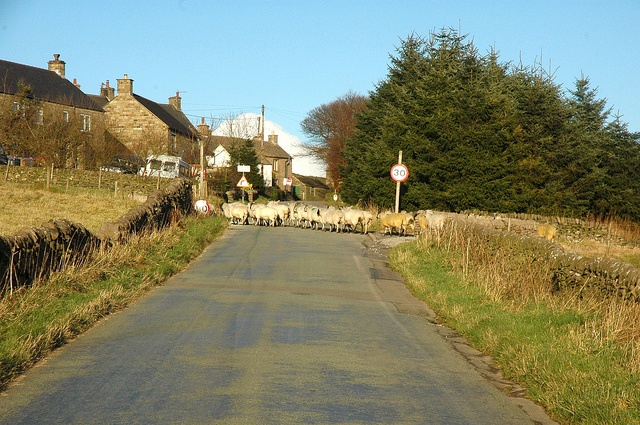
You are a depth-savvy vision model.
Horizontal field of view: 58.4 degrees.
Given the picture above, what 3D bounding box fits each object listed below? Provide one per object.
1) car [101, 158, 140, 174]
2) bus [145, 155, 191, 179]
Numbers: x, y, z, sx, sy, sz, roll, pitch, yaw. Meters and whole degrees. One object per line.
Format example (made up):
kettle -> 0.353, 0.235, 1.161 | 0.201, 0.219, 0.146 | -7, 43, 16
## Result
car -> -17.409, -4.051, 49.871 | 1.776, 1.417, 3.015 | 1, 0, 19
bus -> -13.774, -4.022, 52.641 | 2.941, 2.394, 4.759 | 4, 4, 18
